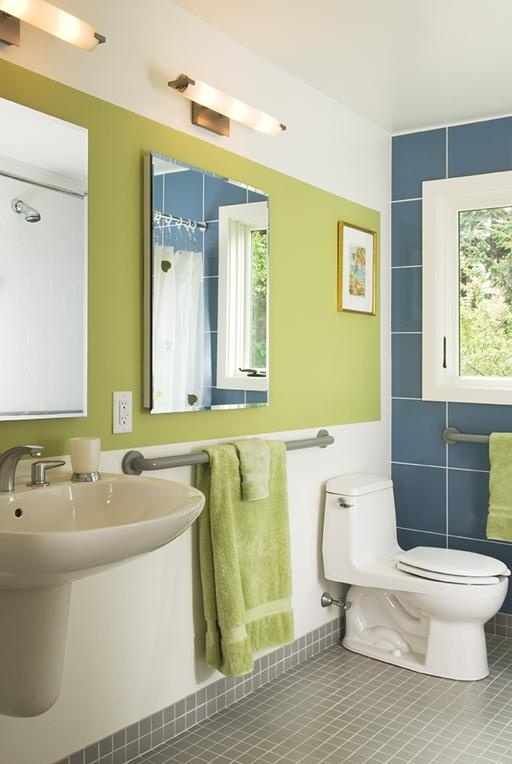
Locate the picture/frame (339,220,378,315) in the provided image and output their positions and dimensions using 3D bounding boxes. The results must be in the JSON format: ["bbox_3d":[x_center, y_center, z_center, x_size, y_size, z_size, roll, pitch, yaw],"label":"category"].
[{"bbox_3d":[0.449,-0.516,2.614,0.033,0.541,0.424,-1,-2,33],"label":"picture/frame"}]

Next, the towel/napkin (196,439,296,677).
[{"bbox_3d":[-0.031,0.555,1.861,0.194,0.734,0.448,-1,-6,25],"label":"towel/napkin"}]

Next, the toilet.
[{"bbox_3d":[0.615,0.805,2.571,0.858,0.890,0.498,-4,-4,30],"label":"toilet"}]

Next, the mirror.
[{"bbox_3d":[-0.142,-0.286,1.796,0.065,0.783,0.612,-2,-6,32],"label":"mirror"}]

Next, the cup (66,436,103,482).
[{"bbox_3d":[-0.356,0.173,1.264,0.075,0.100,0.074,-2,-5,0],"label":"cup"}]

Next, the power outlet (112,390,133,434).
[{"bbox_3d":[-0.346,0.081,1.515,0.015,0.110,0.080,-1,-6,23],"label":"power outlet"}]
